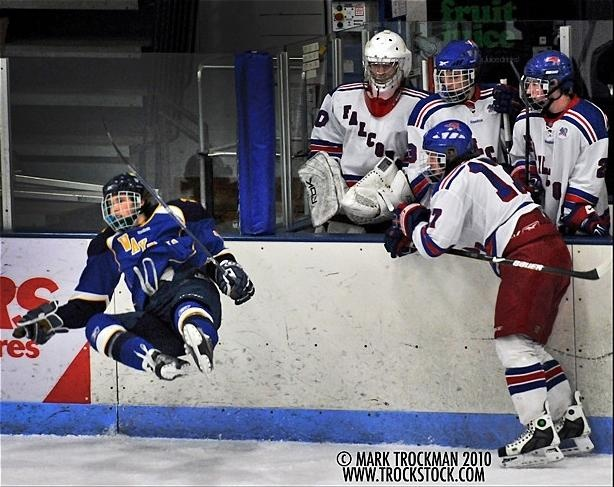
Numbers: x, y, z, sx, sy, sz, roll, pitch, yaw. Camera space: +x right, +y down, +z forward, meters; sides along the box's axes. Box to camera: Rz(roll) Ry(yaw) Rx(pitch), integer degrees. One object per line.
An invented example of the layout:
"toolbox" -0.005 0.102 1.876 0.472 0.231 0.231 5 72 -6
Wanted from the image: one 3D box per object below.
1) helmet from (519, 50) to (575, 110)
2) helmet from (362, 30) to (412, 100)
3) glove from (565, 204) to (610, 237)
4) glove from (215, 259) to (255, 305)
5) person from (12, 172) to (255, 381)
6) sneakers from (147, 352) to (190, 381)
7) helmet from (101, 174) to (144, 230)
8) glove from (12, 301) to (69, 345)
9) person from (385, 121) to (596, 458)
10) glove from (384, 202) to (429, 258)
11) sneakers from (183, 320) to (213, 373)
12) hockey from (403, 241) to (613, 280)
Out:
"helmet" 1.304 -0.885 4.144 0.318 0.339 0.247 -7 10 3
"helmet" 0.500 -1.057 4.524 0.273 0.339 0.375 2 38 7
"glove" 1.511 -0.115 4.117 0.200 0.169 0.099 13 58 26
"glove" -0.351 0.177 3.934 0.159 0.225 0.094 -43 5 29
"person" -0.962 0.226 4.117 0.637 0.503 0.889 -37 47 7
"sneakers" -0.672 0.581 3.682 0.240 0.101 0.103 15 13 27
"helmet" -0.929 -0.207 4.013 0.201 0.273 0.272 -10 -3 15
"glove" -1.364 0.422 3.918 0.247 0.192 0.114 -22 28 -13
"person" 0.950 0.253 3.866 0.987 1.727 0.410 3 9 23
"glove" 0.514 -0.070 3.950 0.248 0.283 0.209 -3 35 1
"sneakers" -0.511 0.492 3.694 0.103 0.268 0.116 -31 -17 31
"hockey" 1.066 0.082 3.864 0.835 0.085 0.127 4 30 34
